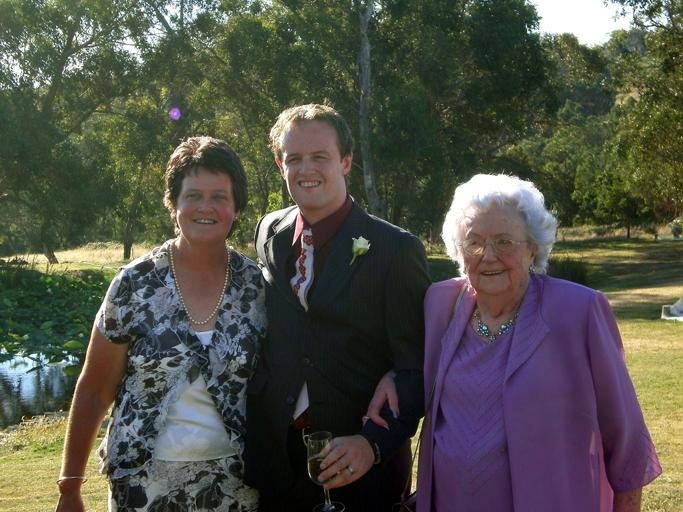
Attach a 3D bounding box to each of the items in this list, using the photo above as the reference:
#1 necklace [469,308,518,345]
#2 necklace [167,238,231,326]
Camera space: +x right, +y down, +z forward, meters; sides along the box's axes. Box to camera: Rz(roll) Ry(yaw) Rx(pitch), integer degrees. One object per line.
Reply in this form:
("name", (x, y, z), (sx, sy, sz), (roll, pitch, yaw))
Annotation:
("necklace", (1.300, 0.639, 6.535), (0.320, 0.202, 0.344), (-1, -12, -6))
("necklace", (-1.193, 0.263, 6.591), (0.401, 0.776, 0.124), (2, -11, -11))
